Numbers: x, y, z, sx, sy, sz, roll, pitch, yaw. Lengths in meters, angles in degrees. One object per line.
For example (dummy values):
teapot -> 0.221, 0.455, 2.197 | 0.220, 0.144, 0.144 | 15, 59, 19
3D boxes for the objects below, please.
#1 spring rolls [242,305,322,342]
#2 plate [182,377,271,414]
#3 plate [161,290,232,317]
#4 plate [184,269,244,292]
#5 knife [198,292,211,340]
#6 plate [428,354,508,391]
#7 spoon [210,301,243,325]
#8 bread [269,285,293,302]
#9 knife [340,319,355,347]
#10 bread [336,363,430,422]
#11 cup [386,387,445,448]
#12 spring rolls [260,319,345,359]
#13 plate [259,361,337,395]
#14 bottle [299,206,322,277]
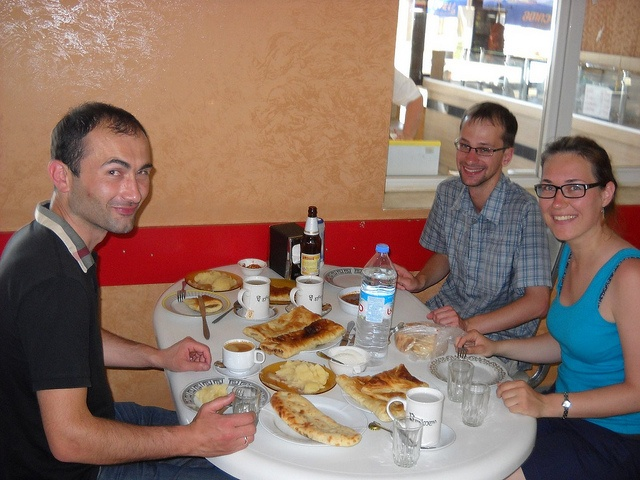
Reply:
spring rolls -> -0.135, 0.319, 1.877 | 0.201, 0.036, 0.122 | -14, 14, -33
plate -> -0.286, 0.433, 1.512 | 0.196, 0.072, 0.213 | -6, 14, -25
plate -> -0.532, 0.220, 2.068 | 0.257, 0.089, 0.272 | -8, 16, -30
plate -> -0.475, 0.191, 2.238 | 0.139, 0.034, 0.138 | 1, 19, -31
knife -> -0.456, 0.294, 1.919 | 0.039, 0.014, 0.286 | -1, 26, -11
plate -> 0.489, 0.455, 1.717 | 0.272, 0.025, 0.264 | -4, 8, -34
spoon -> -0.372, 0.294, 1.994 | 0.037, 0.026, 0.172 | 32, 31, 15
bread -> -0.174, 0.236, 2.130 | 0.069, 0.020, 0.074 | -6, 22, -17
knife -> 0.102, 0.356, 1.877 | 0.035, 0.015, 0.180 | 6, 9, 8
bread -> 0.187, 0.443, 1.594 | 0.263, 0.110, 0.221 | -4, 13, -27
cup -> 0.252, 0.494, 1.422 | 0.173, 0.167, 0.110 | -2, 13, 1
spring rolls -> -0.065, 0.364, 1.792 | 0.284, 0.049, 0.160 | -23, 19, -23
plate -> -0.072, 0.449, 1.603 | 0.263, 0.044, 0.264 | 11, -2, 14
bottle -> -0.040, -0.001, 2.282 | 0.088, 0.340, 0.073 | -3, 11, -27
